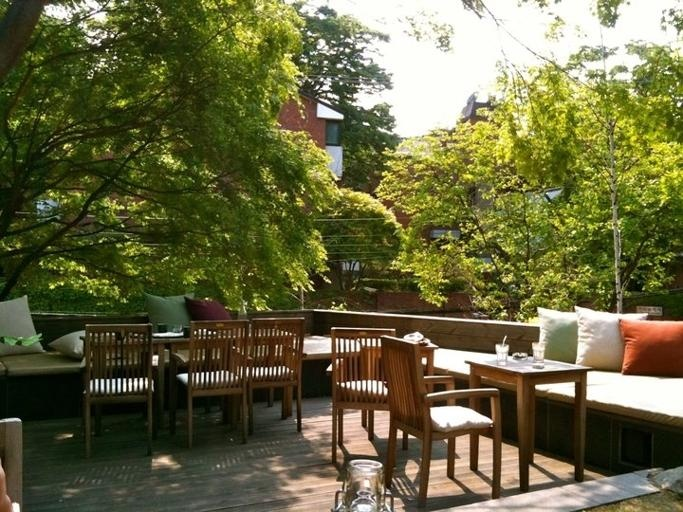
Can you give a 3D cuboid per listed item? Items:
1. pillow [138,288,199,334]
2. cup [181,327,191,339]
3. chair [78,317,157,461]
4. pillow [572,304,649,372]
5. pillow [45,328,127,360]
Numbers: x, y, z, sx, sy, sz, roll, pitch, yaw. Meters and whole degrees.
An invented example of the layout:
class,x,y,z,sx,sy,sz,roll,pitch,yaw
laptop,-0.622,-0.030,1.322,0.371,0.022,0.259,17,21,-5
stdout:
class,x,y,z,sx,sy,sz,roll,pitch,yaw
pillow,-2.070,0.731,7.559,0.916,0.726,0.443,5,-8,-32
cup,-1.537,0.763,5.990,0.105,0.096,0.098,2,0,0
chair,-2.049,1.164,5.494,0.608,1.220,0.900,-3,5,-23
pillow,2.583,0.821,5.829,0.629,0.551,0.220,7,-11,2
pillow,-2.946,0.983,6.776,0.622,0.269,0.620,3,1,30
